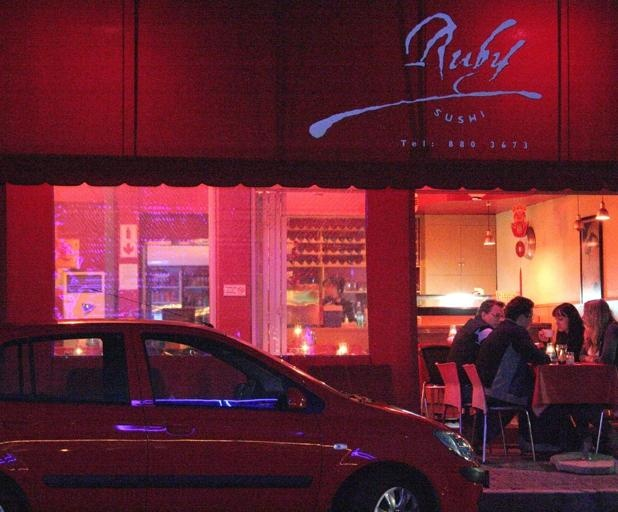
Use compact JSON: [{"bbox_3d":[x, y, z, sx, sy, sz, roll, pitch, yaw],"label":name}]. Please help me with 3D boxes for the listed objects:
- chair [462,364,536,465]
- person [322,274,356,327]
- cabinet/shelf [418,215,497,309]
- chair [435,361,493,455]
[{"bbox_3d":[2.327,1.911,12.964,0.870,1.149,0.900,3,1,-8],"label":"chair"},{"bbox_3d":[0.503,0.591,14.792,0.600,1.026,0.615,0,-2,-2],"label":"person"},{"bbox_3d":[3.390,-0.019,24.254,1.831,1.830,0.559,-1,-1,3],"label":"cabinet/shelf"},{"bbox_3d":[2.048,1.898,13.509,0.681,1.054,0.732,3,3,-4],"label":"chair"}]
